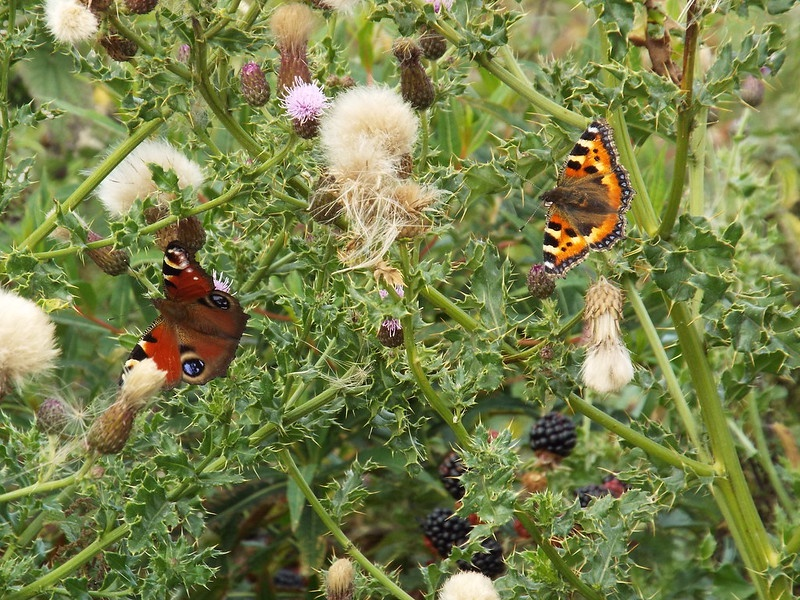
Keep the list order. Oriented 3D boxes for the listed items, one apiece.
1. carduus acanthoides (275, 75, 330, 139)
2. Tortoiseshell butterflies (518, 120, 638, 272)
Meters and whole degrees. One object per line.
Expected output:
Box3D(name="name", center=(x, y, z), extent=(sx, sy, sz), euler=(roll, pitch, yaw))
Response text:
Box3D(name="carduus acanthoides", center=(-0.296, -0.580, 2.865), extent=(0.108, 0.226, 0.125), euler=(15, 24, 40))
Box3D(name="Tortoiseshell butterflies", center=(0.558, -0.321, 2.941), extent=(0.250, 0.462, 0.397), euler=(0, 9, 12))
